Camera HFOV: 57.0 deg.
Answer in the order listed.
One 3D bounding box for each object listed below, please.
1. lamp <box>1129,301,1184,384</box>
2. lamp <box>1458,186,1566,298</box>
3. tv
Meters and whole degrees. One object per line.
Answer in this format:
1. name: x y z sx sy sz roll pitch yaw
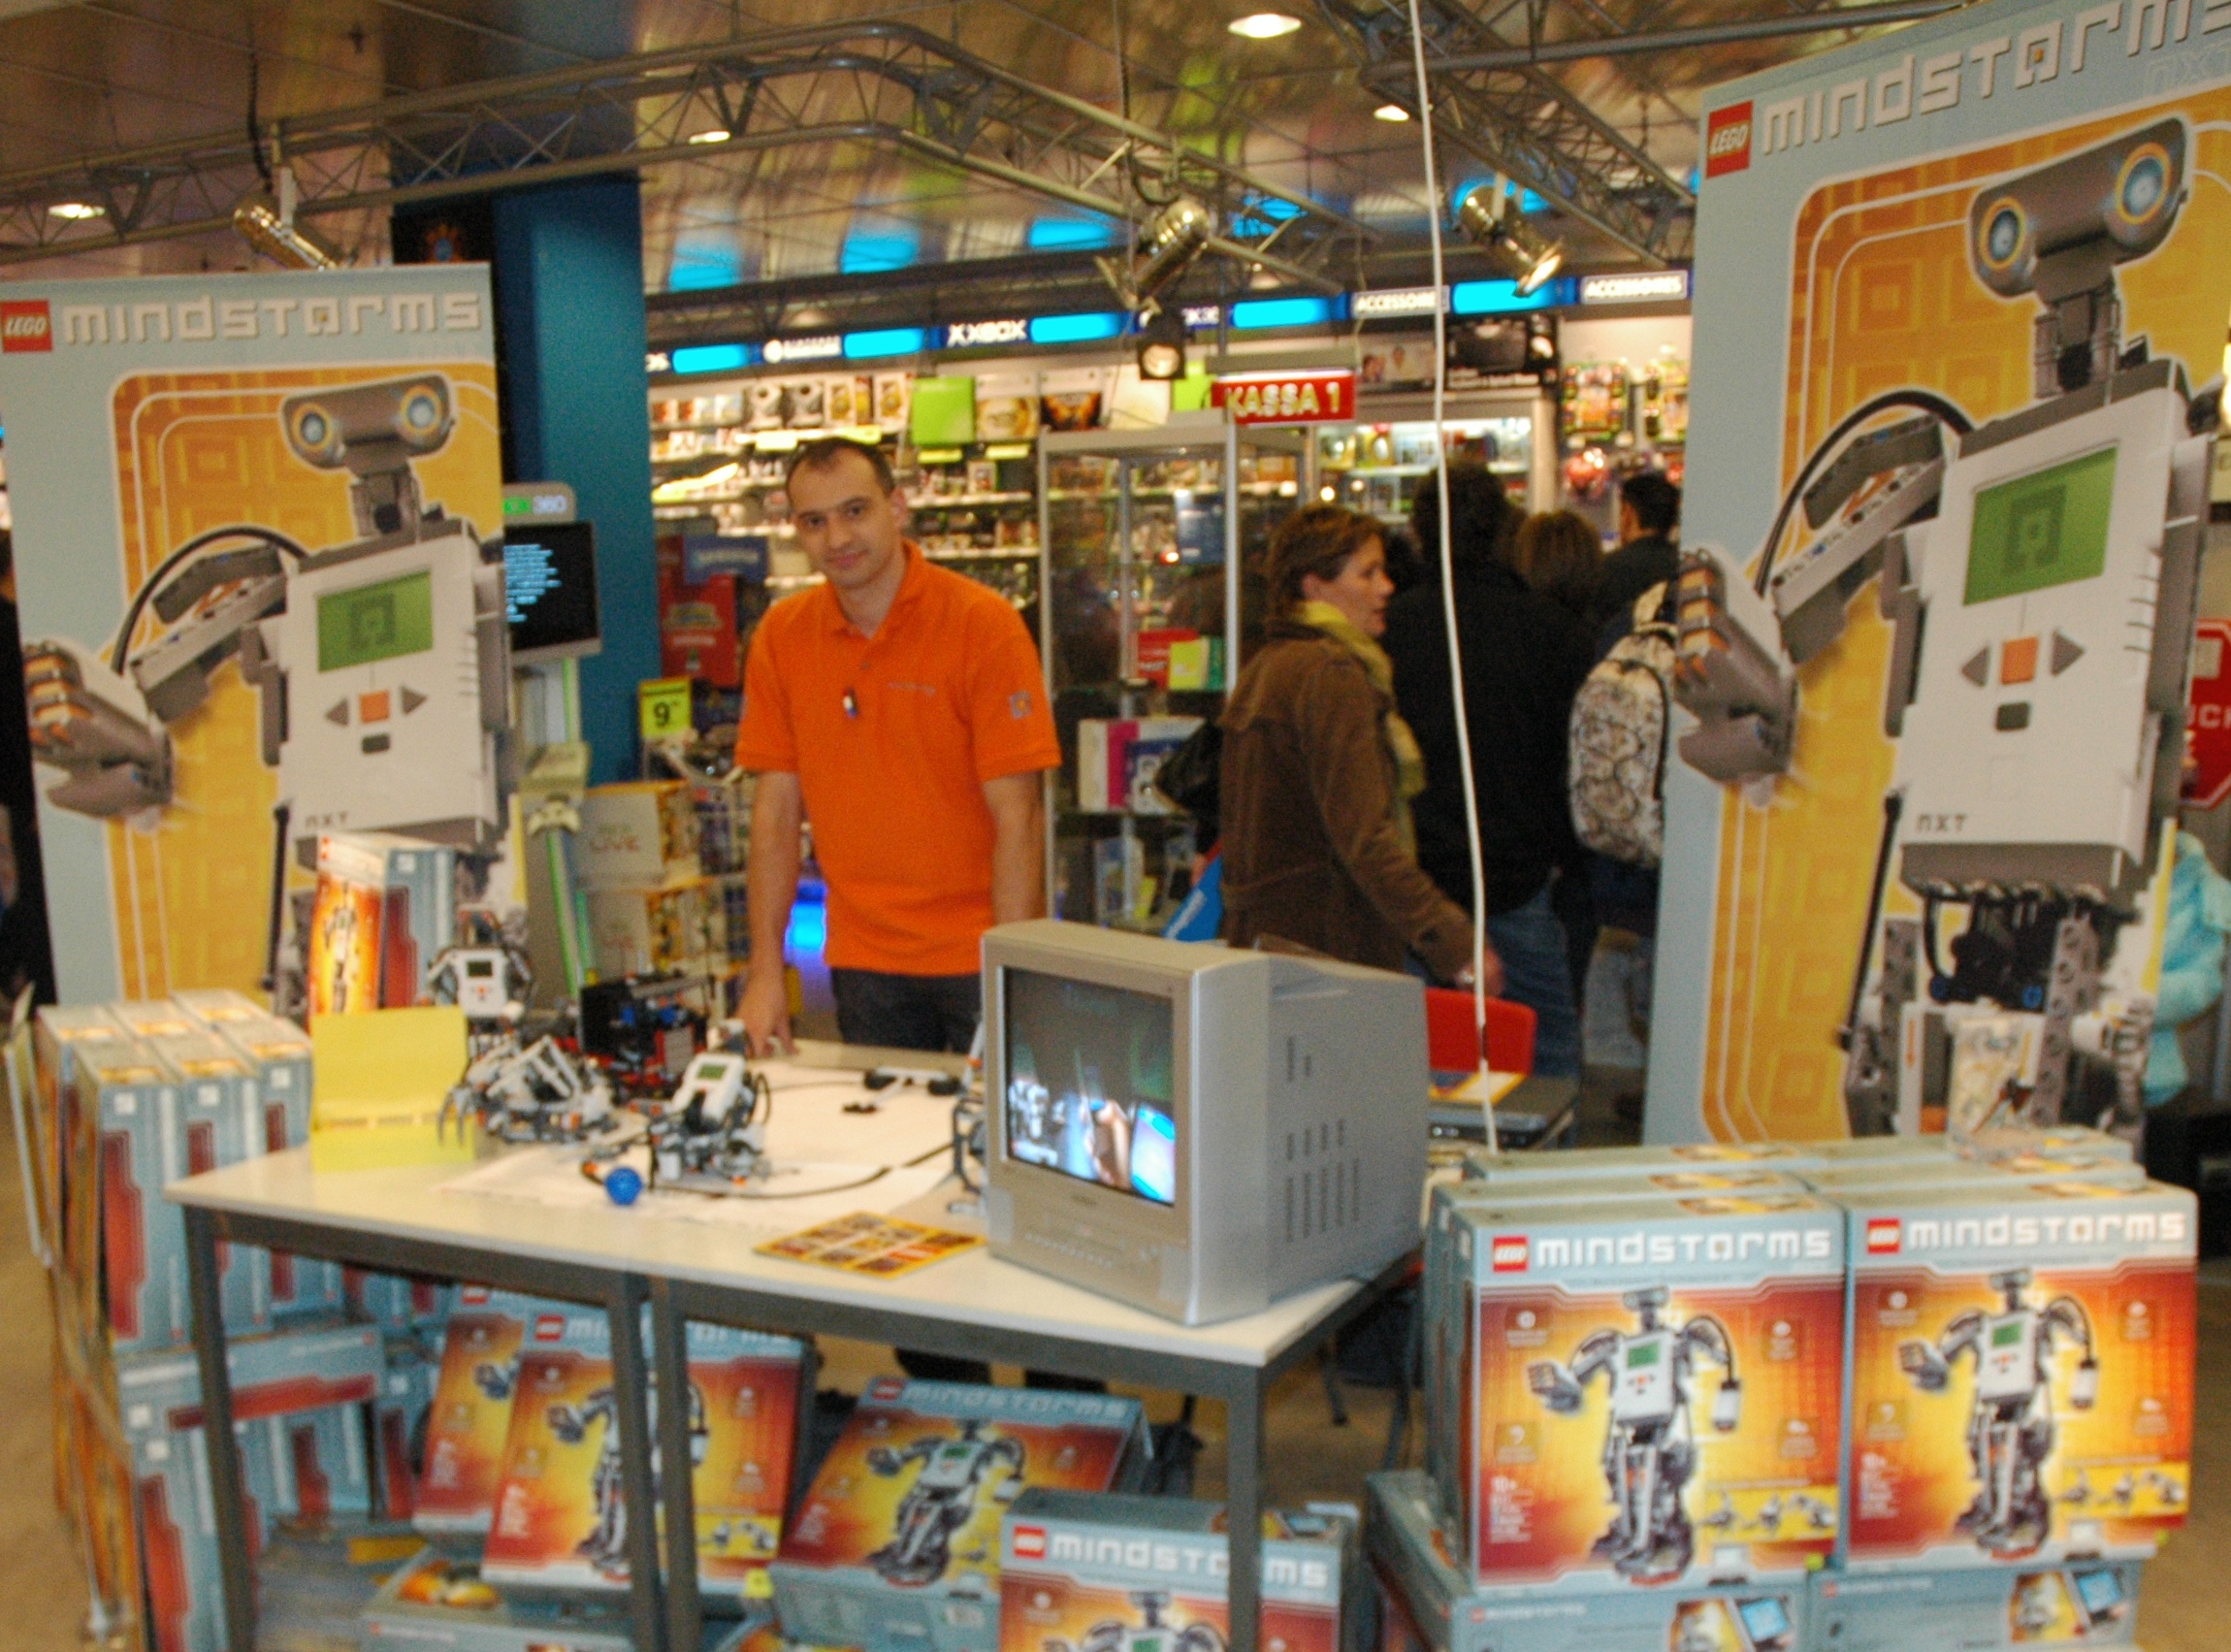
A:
1. lamp: 0.284 -2.934 12.509 0.383 0.741 0.404 0 1 2
2. lamp: 2.219 -3.335 11.673 0.501 0.600 0.793 -1 2 10
3. tv: 0.173 0.429 3.551 0.603 0.591 0.626 5 7 42
